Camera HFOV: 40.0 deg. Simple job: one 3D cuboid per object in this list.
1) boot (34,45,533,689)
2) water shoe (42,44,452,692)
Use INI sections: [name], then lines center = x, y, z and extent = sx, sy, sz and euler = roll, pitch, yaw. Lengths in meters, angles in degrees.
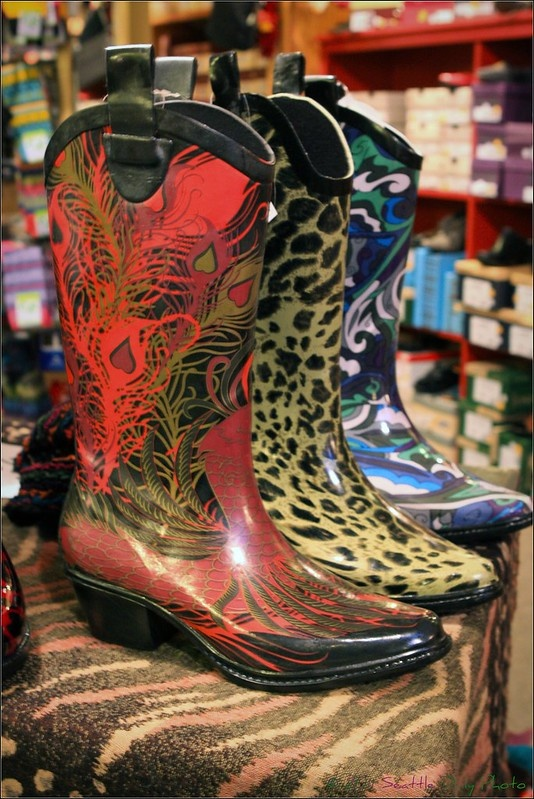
[boot]
center = 0.012, -0.105, 0.792
extent = 0.521, 0.611, 0.398
euler = 8, 21, 21
[water shoe]
center = -0.028, -0.013, 0.522
extent = 0.312, 0.441, 0.098
euler = 3, 16, 20
